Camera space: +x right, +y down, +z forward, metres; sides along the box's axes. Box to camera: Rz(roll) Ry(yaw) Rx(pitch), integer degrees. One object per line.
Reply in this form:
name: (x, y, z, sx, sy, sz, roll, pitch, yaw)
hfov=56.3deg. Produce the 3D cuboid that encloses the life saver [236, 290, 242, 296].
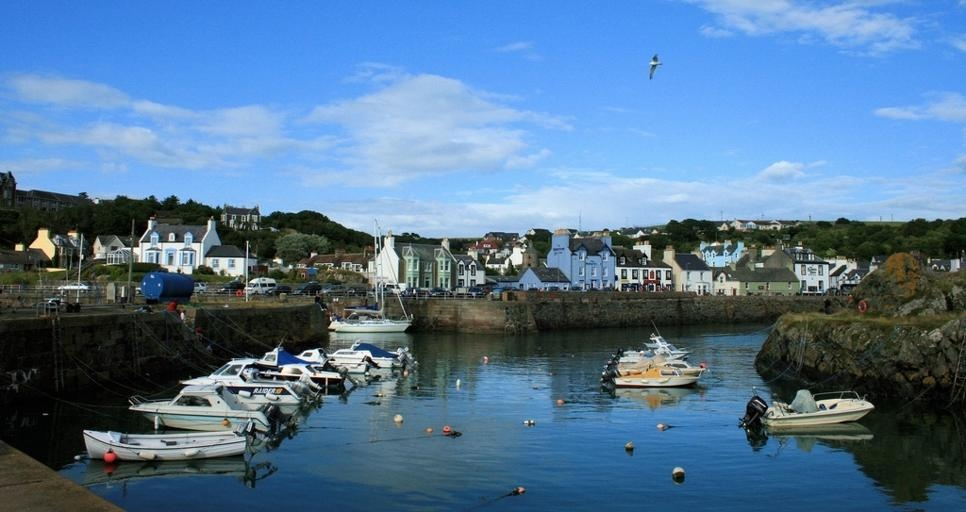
life saver: (-29.017, 4.480, 106.959, 1.059, 0.657, 0.511, 4, 16, 27)

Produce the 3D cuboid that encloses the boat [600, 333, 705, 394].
boat: (15.097, 10.125, 83.036, 8.321, 3.455, 7.022, -1, -2, 7)

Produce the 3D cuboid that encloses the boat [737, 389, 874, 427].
boat: (26.102, 13.243, 74.322, 13.031, 3.825, 3.856, -1, 4, -3)
